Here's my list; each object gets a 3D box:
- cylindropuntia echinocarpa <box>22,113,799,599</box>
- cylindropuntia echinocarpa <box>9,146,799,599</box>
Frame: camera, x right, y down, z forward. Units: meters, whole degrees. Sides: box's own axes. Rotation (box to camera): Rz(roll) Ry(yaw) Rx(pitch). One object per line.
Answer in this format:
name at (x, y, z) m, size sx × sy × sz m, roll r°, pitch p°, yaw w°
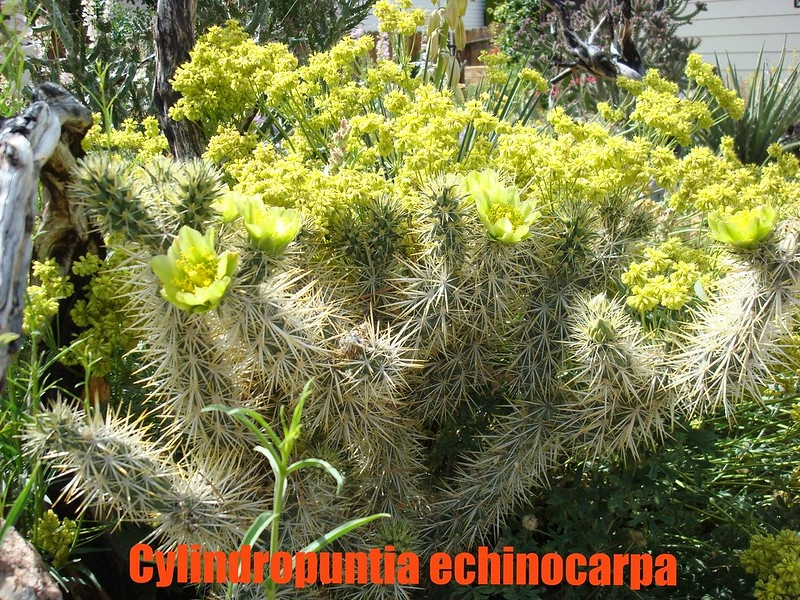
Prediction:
cylindropuntia echinocarpa at (-0.046, -0.230, 2.607) m, size 1.683 × 1.371 × 0.983 m, roll 2°, pitch 27°, yaw -10°
cylindropuntia echinocarpa at (-0.062, 0.302, 2.473) m, size 1.571 × 1.315 × 0.928 m, roll 3°, pitch 54°, yaw -12°
